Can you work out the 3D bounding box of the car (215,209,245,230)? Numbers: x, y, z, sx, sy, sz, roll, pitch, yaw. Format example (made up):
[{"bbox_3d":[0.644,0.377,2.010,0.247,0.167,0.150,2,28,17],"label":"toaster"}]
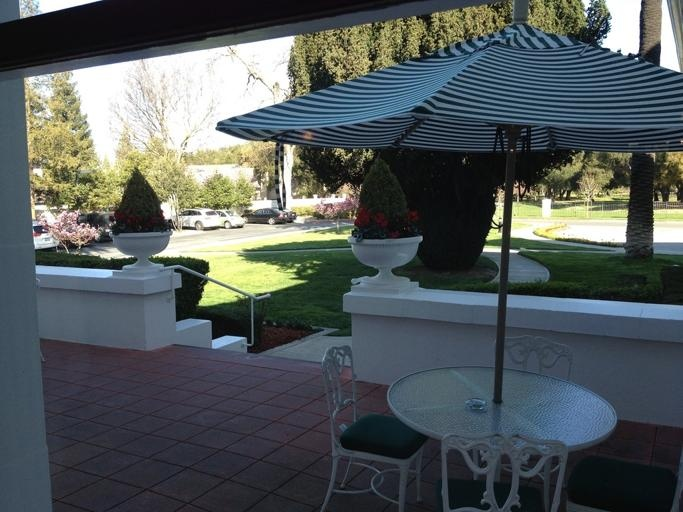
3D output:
[{"bbox_3d":[-7.643,-2.549,35.663,1.953,0.786,0.964,10,16,24],"label":"car"}]

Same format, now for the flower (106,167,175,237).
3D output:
[{"bbox_3d":[-2.817,-0.778,7.313,0.763,0.927,0.492,-3,6,-25],"label":"flower"}]

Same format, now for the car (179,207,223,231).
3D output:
[{"bbox_3d":[-9.397,-2.439,34.641,2.462,1.023,1.193,7,10,20],"label":"car"}]

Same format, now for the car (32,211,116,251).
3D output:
[{"bbox_3d":[-12.626,-1.196,24.658,2.593,1.869,6.572,-2,7,-19],"label":"car"}]
